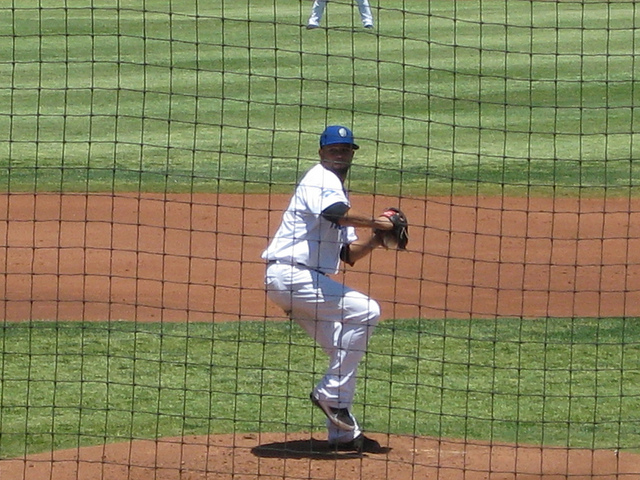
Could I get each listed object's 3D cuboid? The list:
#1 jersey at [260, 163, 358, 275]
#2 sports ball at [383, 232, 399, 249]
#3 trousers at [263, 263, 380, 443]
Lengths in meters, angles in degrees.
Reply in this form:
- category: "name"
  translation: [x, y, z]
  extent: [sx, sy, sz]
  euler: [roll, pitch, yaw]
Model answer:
- category: "jersey"
  translation: [-0.137, -0.205, 16.064]
  extent: [0.824, 1.125, 0.313]
  euler: [3, 8, -2]
- category: "sports ball"
  translation: [0.768, 0.030, 16.230]
  extent: [0.157, 0.137, 0.179]
  euler: [-10, 13, -23]
- category: "trousers"
  translation: [-0.012, 0.996, 16.117]
  extent: [1.095, 1.465, 0.334]
  euler: [6, 9, 21]
